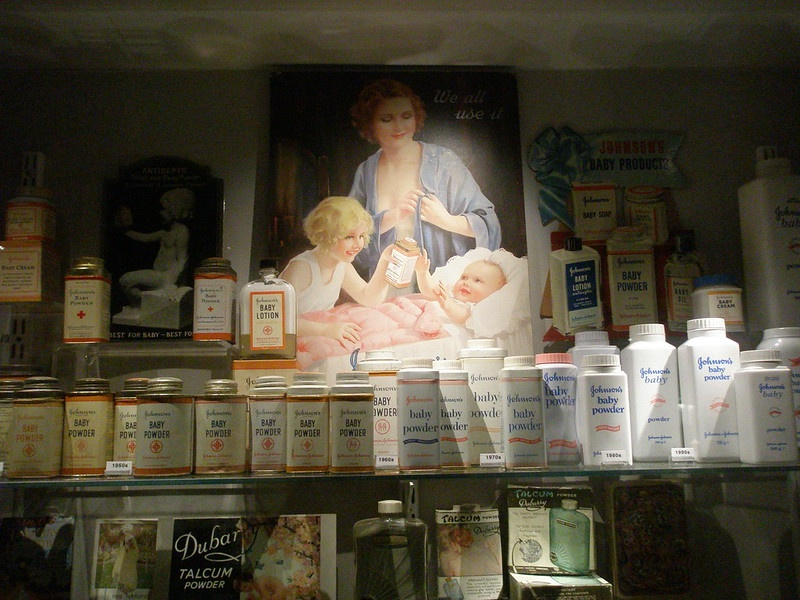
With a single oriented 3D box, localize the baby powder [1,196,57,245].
[{"bbox_3d":[-0.947,-0.206,1.914,0.122,0.140,0.116,-1,-5,3],"label":"baby powder"}]
